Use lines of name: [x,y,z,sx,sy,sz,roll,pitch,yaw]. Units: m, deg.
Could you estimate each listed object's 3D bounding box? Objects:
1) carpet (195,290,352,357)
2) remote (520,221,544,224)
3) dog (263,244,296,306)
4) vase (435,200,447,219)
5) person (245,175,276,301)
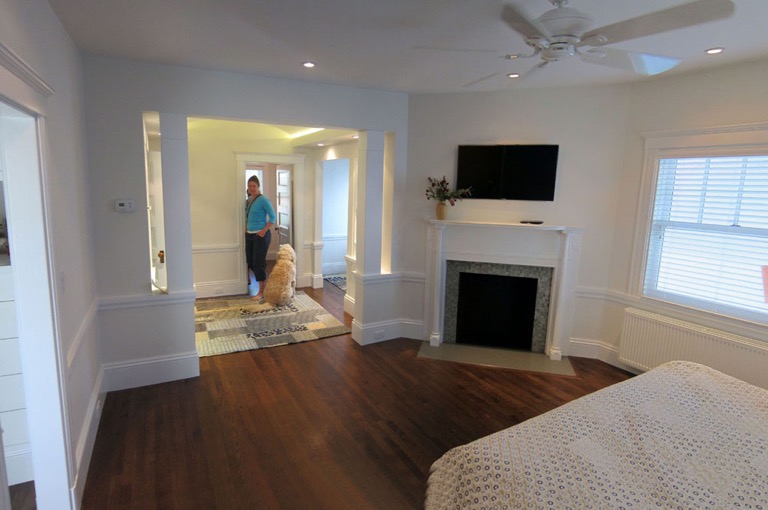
carpet: [-1.682,0.910,6.970,1.943,0.095,2.073,-3,13,-24]
remote: [1.793,-0.393,5.823,0.274,0.038,0.153,5,12,12]
dog: [-1.623,0.314,7.756,0.479,0.652,1.217,5,36,-1]
vase: [0.712,-0.541,5.944,0.189,0.252,0.191,-1,8,-13]
person: [-1.964,-0.265,7.652,0.422,1.938,0.590,-2,13,-18]
